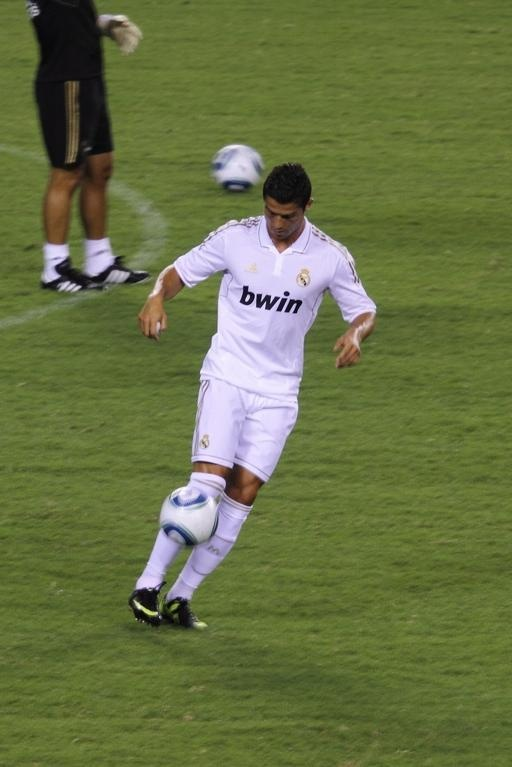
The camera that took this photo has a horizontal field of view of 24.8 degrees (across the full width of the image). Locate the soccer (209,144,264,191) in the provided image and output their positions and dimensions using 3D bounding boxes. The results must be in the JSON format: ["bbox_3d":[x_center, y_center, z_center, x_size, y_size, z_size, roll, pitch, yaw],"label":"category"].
[{"bbox_3d":[-0.127,-1.339,7.050,0.320,0.305,0.277,-3,50,-2],"label":"soccer"}]

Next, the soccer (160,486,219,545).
[{"bbox_3d":[-0.212,0.408,3.517,0.172,0.186,0.158,11,31,-5],"label":"soccer"}]

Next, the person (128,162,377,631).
[{"bbox_3d":[-0.061,0.038,3.702,0.722,1.440,0.756,13,32,-3],"label":"person"}]
